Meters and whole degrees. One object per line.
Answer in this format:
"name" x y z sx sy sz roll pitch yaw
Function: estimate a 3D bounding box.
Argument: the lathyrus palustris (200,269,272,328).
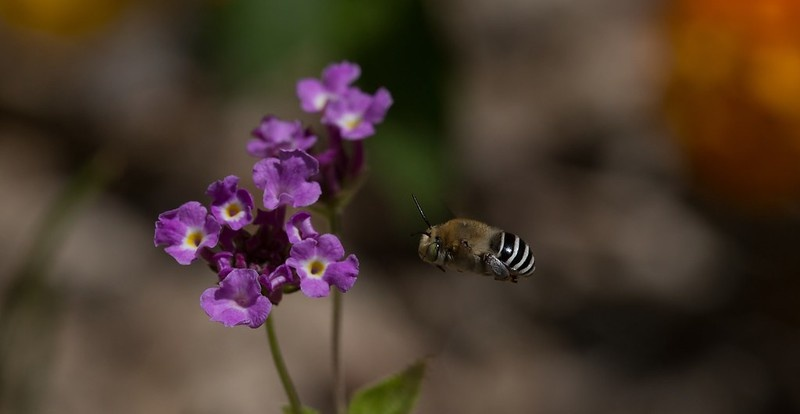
"lathyrus palustris" -1.293 0.766 5.726 0.498 0.138 0.480 -35 78 -6

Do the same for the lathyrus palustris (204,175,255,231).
"lathyrus palustris" -1.365 0.007 5.858 0.365 0.351 0.171 16 44 -36

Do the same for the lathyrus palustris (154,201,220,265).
"lathyrus palustris" -1.717 0.205 5.828 0.500 0.214 0.458 35 81 9

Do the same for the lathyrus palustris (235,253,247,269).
"lathyrus palustris" -1.329 0.441 5.909 0.083 0.044 0.126 -8 77 1

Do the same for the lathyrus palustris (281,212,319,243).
"lathyrus palustris" -0.825 0.118 5.900 0.281 0.257 0.111 12 83 -29

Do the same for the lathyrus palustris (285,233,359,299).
"lathyrus palustris" -0.658 0.507 5.766 0.537 0.247 0.598 -3 49 -23

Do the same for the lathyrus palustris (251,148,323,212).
"lathyrus palustris" -0.927 -0.234 5.800 0.511 0.094 0.461 -6 77 1
